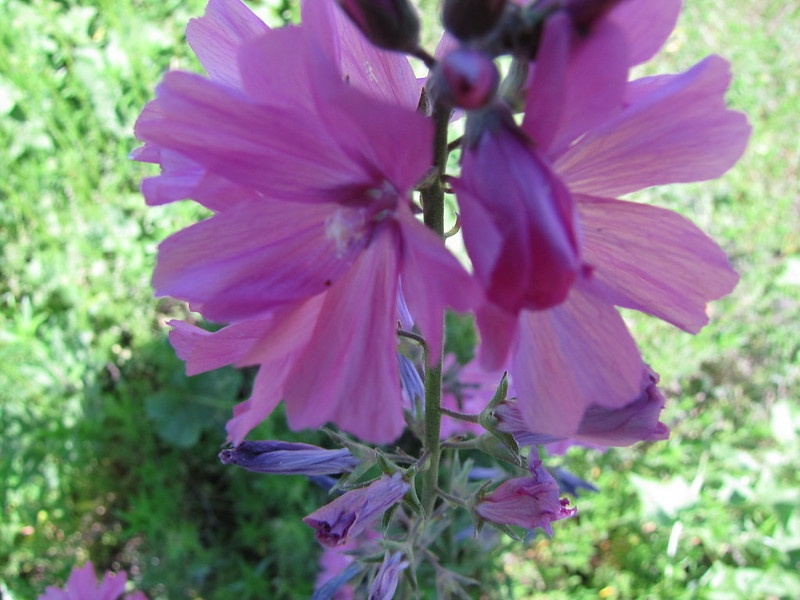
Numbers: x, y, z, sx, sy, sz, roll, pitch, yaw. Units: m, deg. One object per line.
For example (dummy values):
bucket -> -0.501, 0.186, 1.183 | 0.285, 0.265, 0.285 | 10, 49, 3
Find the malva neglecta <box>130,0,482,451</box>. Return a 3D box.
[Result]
malva neglecta -> -0.270, -0.181, 2.027 | 0.938, 0.950, 0.860 | -5, 41, 12

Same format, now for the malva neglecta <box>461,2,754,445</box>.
malva neglecta -> 0.559, -0.194, 1.984 | 0.925, 0.974, 0.416 | -33, 43, -20
